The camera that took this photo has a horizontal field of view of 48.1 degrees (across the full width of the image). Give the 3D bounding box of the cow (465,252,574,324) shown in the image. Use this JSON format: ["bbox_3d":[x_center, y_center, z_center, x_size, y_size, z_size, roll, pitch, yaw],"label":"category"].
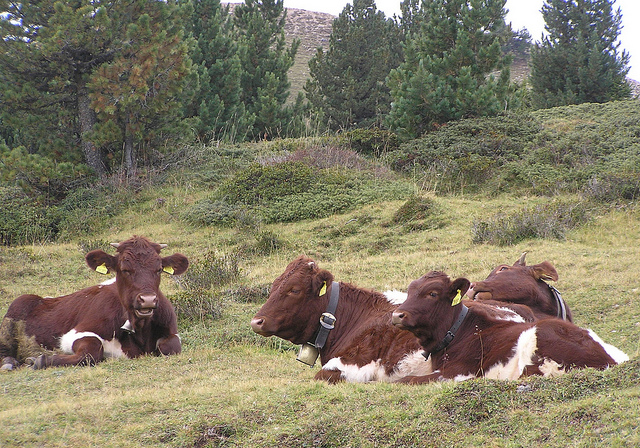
[{"bbox_3d":[3.445,1.480,13.049,1.545,1.512,1.803,6,11,42],"label":"cow"}]

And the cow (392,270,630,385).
[{"bbox_3d":[3.364,1.660,11.554,4.155,2.072,1.590,1,-9,17],"label":"cow"}]

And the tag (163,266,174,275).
[{"bbox_3d":[-2.871,0.883,13.671,0.168,0.128,0.066,15,36,14],"label":"tag"}]

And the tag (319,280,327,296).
[{"bbox_3d":[0.050,1.064,11.952,0.141,0.301,0.165,-4,12,0],"label":"tag"}]

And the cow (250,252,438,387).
[{"bbox_3d":[0.743,1.981,12.457,3.836,2.091,1.371,14,-22,-19],"label":"cow"}]
